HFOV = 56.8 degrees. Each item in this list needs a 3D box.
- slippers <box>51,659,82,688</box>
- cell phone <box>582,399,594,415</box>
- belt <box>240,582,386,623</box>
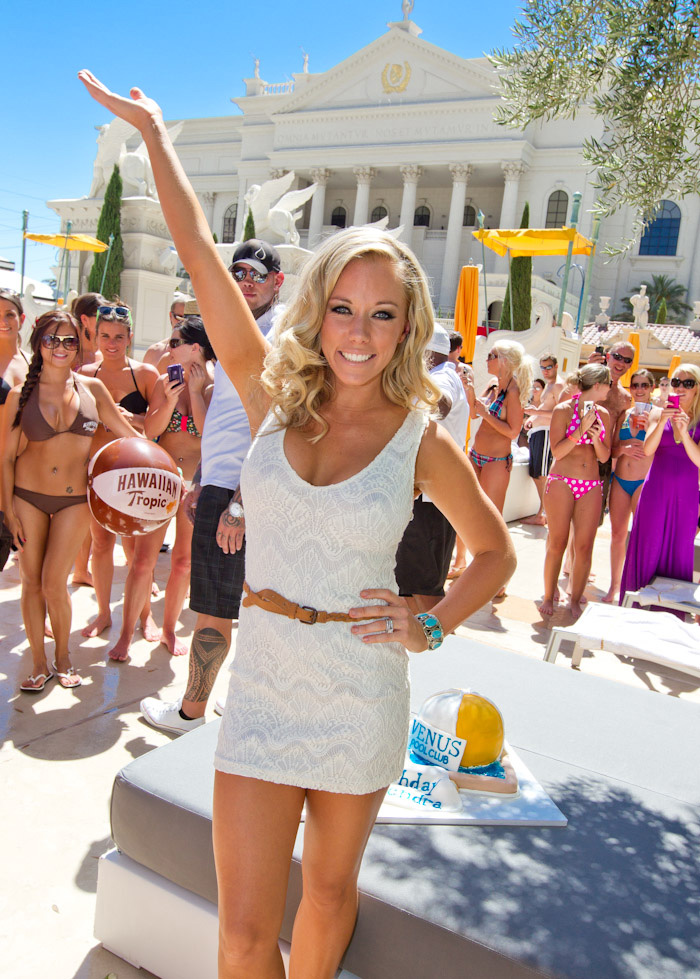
[{"bbox_3d":[-1.626,1.050,3.747,0.152,0.093,0.258,5,2,-23],"label":"slippers"},{"bbox_3d":[2.173,-0.756,5.931,0.045,0.122,0.125,15,-10,2],"label":"cell phone"},{"bbox_3d":[-0.095,0.207,1.136,0.275,0.048,0.057,6,2,30],"label":"belt"}]
